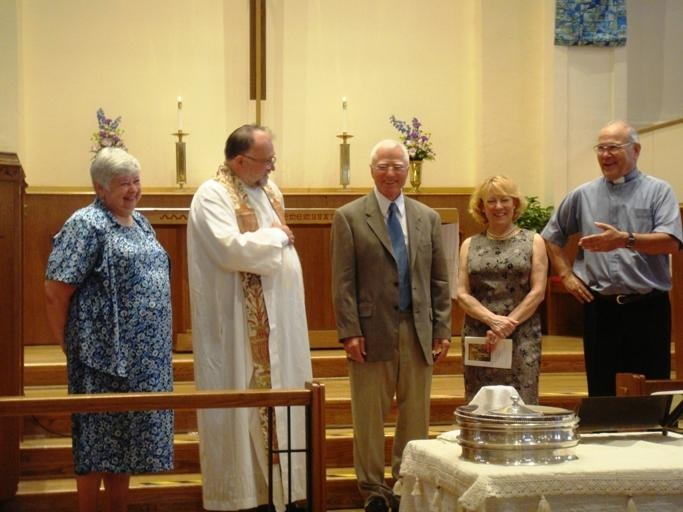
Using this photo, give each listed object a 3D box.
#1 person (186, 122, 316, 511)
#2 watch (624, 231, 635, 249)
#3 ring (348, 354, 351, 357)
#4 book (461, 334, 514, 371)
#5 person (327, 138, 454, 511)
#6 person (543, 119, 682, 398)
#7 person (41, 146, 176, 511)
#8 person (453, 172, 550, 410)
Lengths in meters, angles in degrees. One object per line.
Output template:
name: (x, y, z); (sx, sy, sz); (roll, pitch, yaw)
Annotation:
person: (-0.564, 0.382, 5.266); (0.723, 2.075, 0.566); (-3, 1, -11)
watch: (1.723, -0.089, 5.111); (0.053, 0.103, 0.090); (0, 1, 0)
ring: (0.048, 0.617, 5.267); (0.015, 0.012, 0.016); (1, -1, 0)
book: (0.907, 0.603, 5.388); (0.322, 0.145, 0.091); (-3, 1, 42)
person: (0.320, 0.398, 5.319); (0.733, 1.775, 0.435); (-3, 1, -1)
person: (1.739, 0.011, 5.418); (0.690, 1.708, 0.671); (-3, 1, -4)
person: (-1.302, 0.423, 4.806); (0.681, 1.953, 0.428); (-3, 1, -12)
person: (1.031, 0.483, 5.628); (0.546, 2.013, 0.557); (2, 7, 28)
